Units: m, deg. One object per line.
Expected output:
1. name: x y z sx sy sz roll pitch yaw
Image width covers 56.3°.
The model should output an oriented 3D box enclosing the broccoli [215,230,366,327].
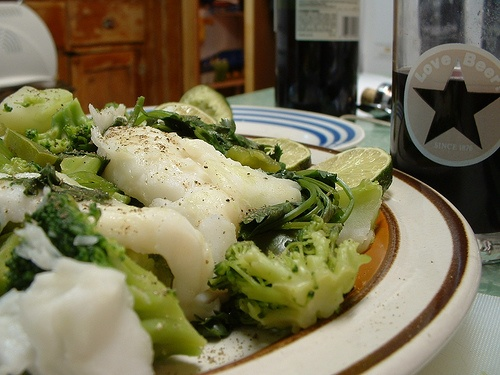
1. broccoli: 0.050 0.090 0.520 0.133 0.116 0.086 4 33 -7

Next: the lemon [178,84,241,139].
1. lemon: -0.117 -0.240 1.325 0.144 0.094 0.115 9 17 33

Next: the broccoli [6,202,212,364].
1. broccoli: -0.181 0.095 0.486 0.265 0.175 0.078 5 15 23

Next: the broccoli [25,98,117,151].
1. broccoli: -0.327 -0.081 0.831 0.117 0.066 0.131 -25 5 -13
